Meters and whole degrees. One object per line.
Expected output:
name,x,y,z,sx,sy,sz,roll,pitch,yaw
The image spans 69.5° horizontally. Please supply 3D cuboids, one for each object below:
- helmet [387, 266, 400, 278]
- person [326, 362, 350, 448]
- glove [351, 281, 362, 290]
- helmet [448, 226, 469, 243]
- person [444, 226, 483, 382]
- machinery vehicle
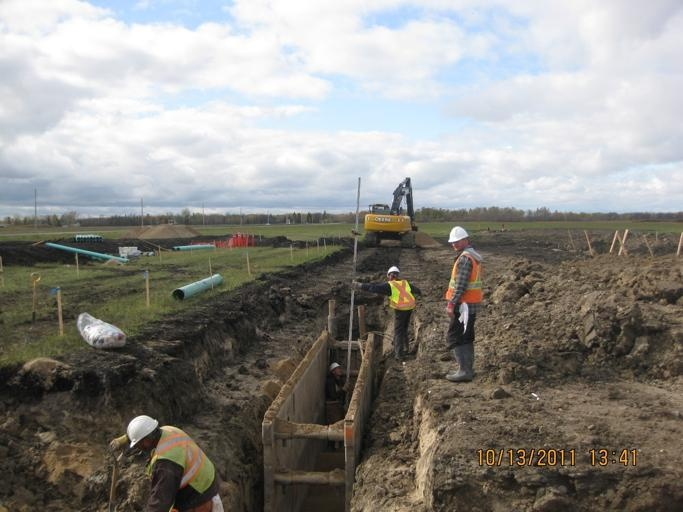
helmet,1.202,0.296,11.304,0.323,0.244,0.452,-3,-10,1
person,-0.115,3.496,12.847,0.606,1.138,0.901,5,8,2
glove,0.323,0.634,10.992,0.199,0.118,0.250,24,-5,-19
helmet,2.131,-0.385,8.908,0.291,0.213,0.369,-6,12,42
person,2.140,0.911,8.730,0.700,2.759,0.583,7,8,13
machinery vehicle,3.621,-3.008,31.209,2.599,4.572,6.557,3,6,21
